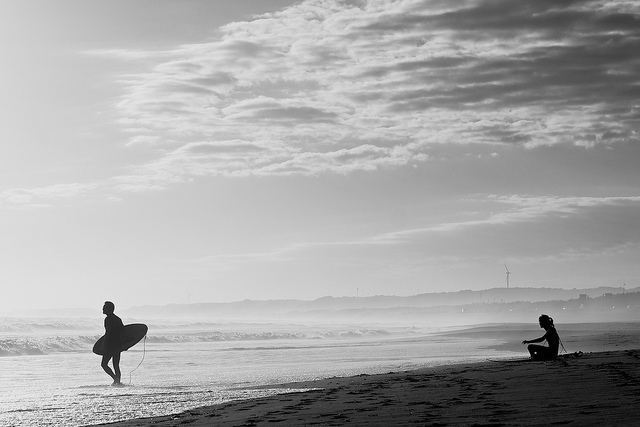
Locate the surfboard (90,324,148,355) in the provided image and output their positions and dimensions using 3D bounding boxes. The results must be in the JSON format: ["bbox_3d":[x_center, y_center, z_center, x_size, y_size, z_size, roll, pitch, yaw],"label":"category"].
[{"bbox_3d":[-8.228,5.153,34.192,1.737,1.600,0.443,-14,-60,45],"label":"surfboard"}]

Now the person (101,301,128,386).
[{"bbox_3d":[-8.411,5.260,33.194,0.933,3.317,1.593,-6,-5,-8],"label":"person"}]
